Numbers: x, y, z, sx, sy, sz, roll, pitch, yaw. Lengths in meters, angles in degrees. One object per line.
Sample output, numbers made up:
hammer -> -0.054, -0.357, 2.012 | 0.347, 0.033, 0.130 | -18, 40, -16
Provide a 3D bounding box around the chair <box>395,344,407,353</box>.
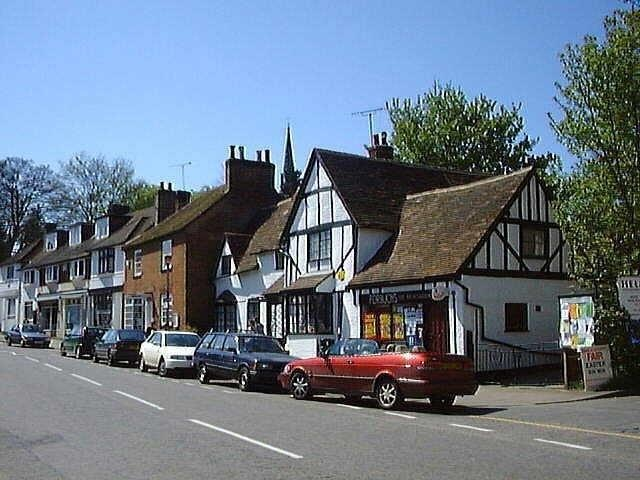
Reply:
chair -> 2.305, 3.120, 20.899 | 0.357, 0.259, 0.664 | -2, -15, 6
